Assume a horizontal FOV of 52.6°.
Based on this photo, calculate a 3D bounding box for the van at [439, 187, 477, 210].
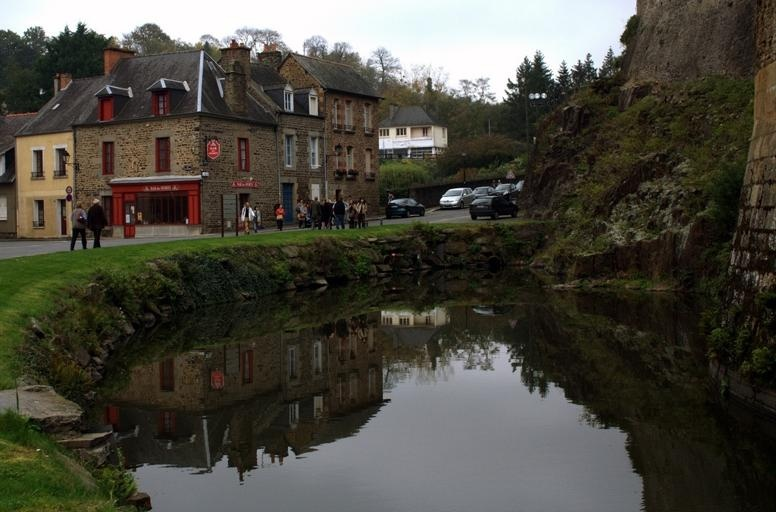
[{"bbox_3d":[5.814,-4.746,64.628,1.511,1.156,2.554,-1,2,29],"label":"van"}]

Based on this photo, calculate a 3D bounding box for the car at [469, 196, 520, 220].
[{"bbox_3d":[7.257,-3.281,52.299,1.450,1.098,3.079,2,8,32],"label":"car"}]

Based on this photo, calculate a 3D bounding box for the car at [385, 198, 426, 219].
[{"bbox_3d":[1.685,-3.688,59.950,1.315,1.006,2.805,1,4,31],"label":"car"}]

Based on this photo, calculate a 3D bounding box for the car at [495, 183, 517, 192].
[{"bbox_3d":[9.361,-5.444,62.236,1.009,0.757,1.538,-2,-3,27],"label":"car"}]
